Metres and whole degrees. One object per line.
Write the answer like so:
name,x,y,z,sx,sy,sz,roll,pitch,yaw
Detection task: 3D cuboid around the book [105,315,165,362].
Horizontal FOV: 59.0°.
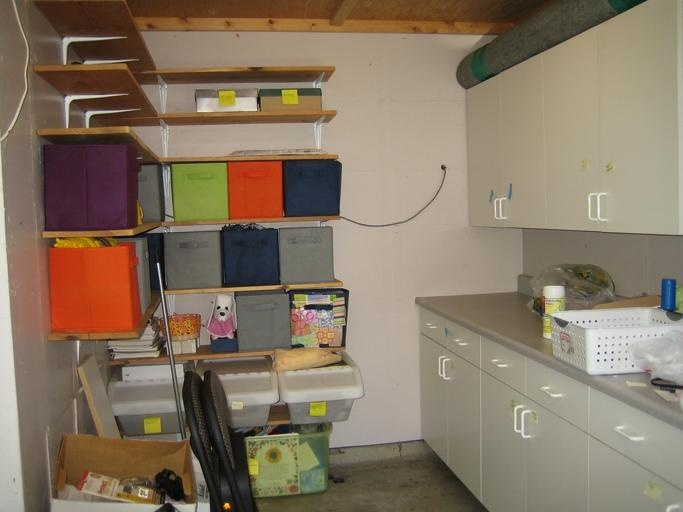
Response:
book,-1.184,0.516,3.496,0.300,0.113,0.331,0,5,-7

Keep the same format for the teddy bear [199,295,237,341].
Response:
teddy bear,-0.721,0.364,3.672,0.254,0.323,0.248,1,5,-10

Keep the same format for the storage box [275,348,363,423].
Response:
storage box,-0.155,0.753,3.501,0.453,0.228,0.623,-3,-3,-7

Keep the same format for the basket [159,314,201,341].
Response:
basket,-0.960,0.432,3.694,0.153,0.101,0.172,1,-2,-7

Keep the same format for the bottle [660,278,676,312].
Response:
bottle,1.498,0.178,2.755,0.063,0.146,0.072,-1,4,35
